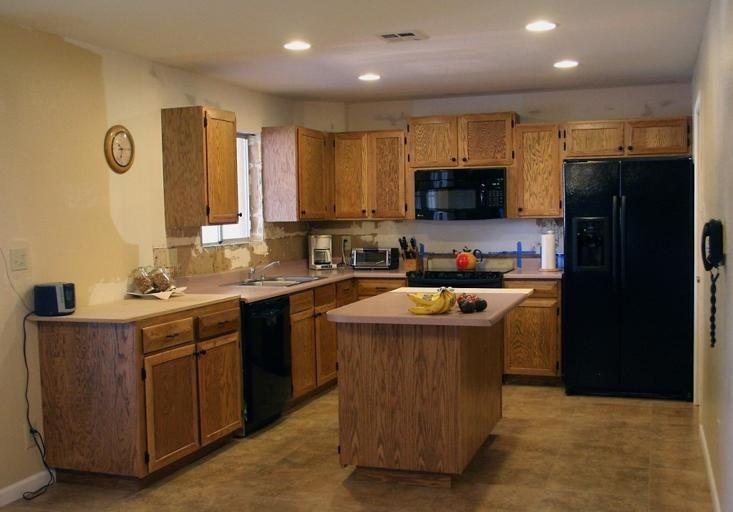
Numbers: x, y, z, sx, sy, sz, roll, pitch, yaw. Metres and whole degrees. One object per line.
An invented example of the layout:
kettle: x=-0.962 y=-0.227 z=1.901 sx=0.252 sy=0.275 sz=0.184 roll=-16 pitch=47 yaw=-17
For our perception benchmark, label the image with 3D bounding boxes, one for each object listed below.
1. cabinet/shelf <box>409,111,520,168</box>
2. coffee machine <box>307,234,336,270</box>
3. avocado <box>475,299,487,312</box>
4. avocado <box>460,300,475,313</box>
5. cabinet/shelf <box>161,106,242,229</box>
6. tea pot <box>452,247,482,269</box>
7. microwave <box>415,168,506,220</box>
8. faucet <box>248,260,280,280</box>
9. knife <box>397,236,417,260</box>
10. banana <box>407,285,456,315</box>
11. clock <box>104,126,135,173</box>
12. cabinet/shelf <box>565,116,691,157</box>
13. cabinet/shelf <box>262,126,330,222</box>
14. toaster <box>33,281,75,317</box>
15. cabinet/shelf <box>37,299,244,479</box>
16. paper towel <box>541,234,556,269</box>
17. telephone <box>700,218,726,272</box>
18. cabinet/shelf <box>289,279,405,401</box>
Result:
cabinet/shelf: x=1.007 y=-1.251 z=6.225 sx=1.177 sy=0.552 sz=0.413 roll=-3 pitch=9 yaw=-3
coffee machine: x=-0.406 y=-0.032 z=6.573 sx=0.384 sy=0.465 sz=0.358 roll=-1 pitch=0 yaw=43
avocado: x=0.726 y=0.318 z=3.587 sx=0.076 sy=0.076 sz=0.079 roll=-4 pitch=6 yaw=-38
avocado: x=0.638 y=0.328 z=3.555 sx=0.083 sy=0.076 sz=0.081 roll=-4 pitch=7 yaw=-33
cabinet/shelf: x=-1.443 y=-0.775 z=4.917 sx=0.498 sy=0.975 sz=0.552 roll=2 pitch=8 yaw=13
tea pot: x=1.123 y=0.041 z=6.284 sx=0.289 sy=0.236 sz=0.398 roll=0 pitch=5 yaw=19
microwave: x=0.993 y=-0.652 z=6.060 sx=0.974 sy=0.574 sz=0.552 roll=0 pitch=0 yaw=19
faucet: x=-1.042 y=0.145 z=5.632 sx=0.307 sy=0.186 sz=0.833 roll=-2 pitch=5 yaw=-10
knife: x=0.480 y=-0.092 z=6.346 sx=0.104 sy=0.256 sz=0.207 roll=-23 pitch=-18 yaw=24
banana: x=0.418 y=0.293 z=3.589 sx=0.249 sy=0.137 sz=0.178 roll=-1 pitch=11 yaw=12
clock: x=-1.931 y=-0.823 z=4.337 sx=0.045 sy=0.382 sz=0.395 roll=-2 pitch=3 yaw=17
cabinet/shelf: x=2.603 y=-1.162 z=5.760 sx=1.286 sy=0.399 sz=0.344 roll=-1 pitch=0 yaw=2
cabinet/shelf: x=-0.734 y=-0.868 z=6.029 sx=0.742 sy=0.986 sz=0.344 roll=-6 pitch=7 yaw=-41
toaster: x=-2.107 y=0.307 z=3.769 sx=0.250 sy=0.206 sz=0.215 roll=-3 pitch=-2 yaw=-18
cabinet/shelf: x=-1.599 y=0.991 z=4.230 sx=0.926 sy=1.070 sz=1.213 roll=-4 pitch=-1 yaw=19
paper towel: x=1.934 y=-0.037 z=5.917 sx=0.163 sy=0.405 sz=0.161 roll=-1 pitch=0 yaw=21
telephone: x=2.000 y=-0.057 z=3.218 sx=0.097 sy=0.269 sz=0.203 roll=3 pitch=0 yaw=8
cabinet/shelf: x=-0.277 y=0.790 z=5.524 sx=0.337 sy=1.088 sz=1.385 roll=1 pitch=6 yaw=29
